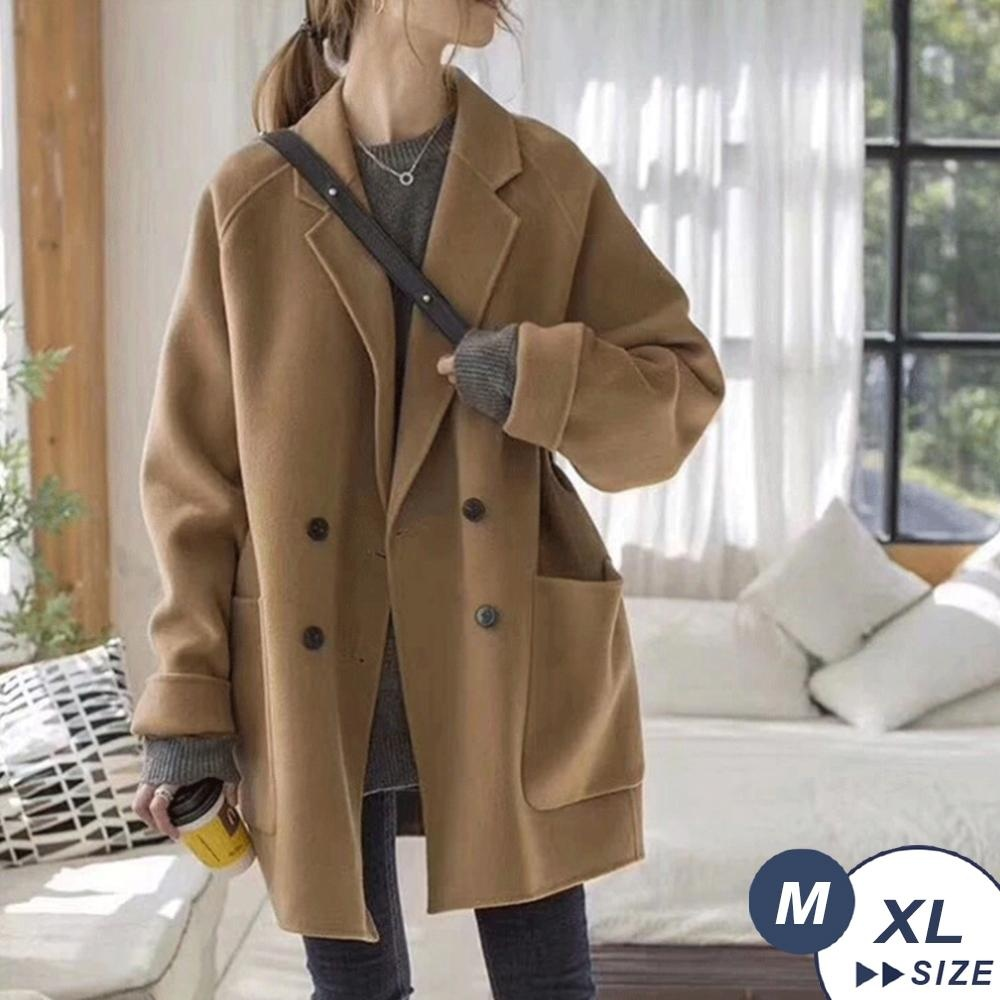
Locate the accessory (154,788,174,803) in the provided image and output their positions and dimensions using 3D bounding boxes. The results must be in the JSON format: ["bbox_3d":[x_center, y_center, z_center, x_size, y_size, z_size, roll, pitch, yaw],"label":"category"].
[{"bbox_3d":[-0.352,0.308,1.425,0.014,0.018,0.008,7,10,-6],"label":"accessory"}]

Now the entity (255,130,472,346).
[{"bbox_3d":[-0.149,-0.274,1.471,0.034,0.265,0.029,-31,-5,-2],"label":"entity"}]

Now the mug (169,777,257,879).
[{"bbox_3d":[-0.314,0.347,1.474,0.069,0.114,0.072,-28,25,-13],"label":"mug"}]

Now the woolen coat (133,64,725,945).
[{"bbox_3d":[-0.073,-0.016,1.484,0.644,0.907,0.288,-2,9,-15],"label":"woolen coat"}]
